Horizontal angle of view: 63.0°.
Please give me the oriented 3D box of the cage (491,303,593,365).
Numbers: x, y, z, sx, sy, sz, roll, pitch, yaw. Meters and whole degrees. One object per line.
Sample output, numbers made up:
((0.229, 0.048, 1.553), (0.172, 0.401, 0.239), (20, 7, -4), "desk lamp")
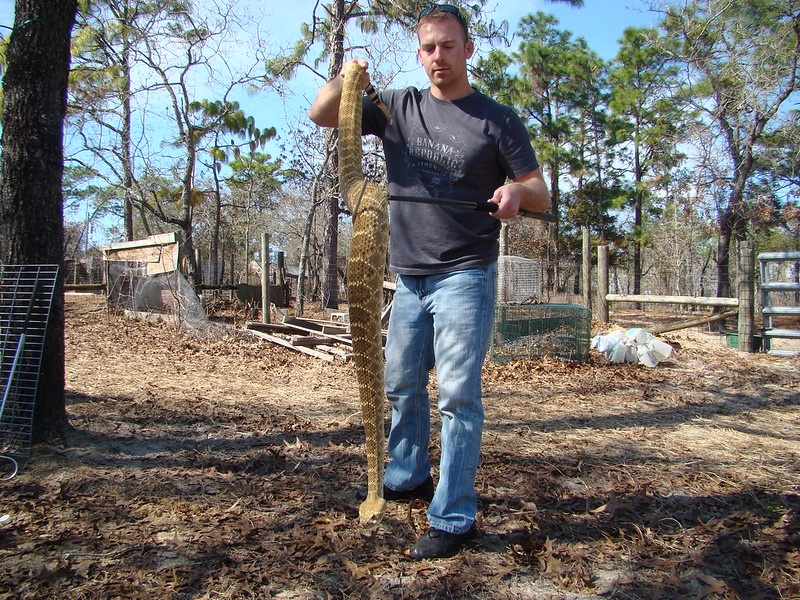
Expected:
((2.446, 0.542, 11.167), (1.494, 0.763, 1.109), (0, 1, 16), "cage")

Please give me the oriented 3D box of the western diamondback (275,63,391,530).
((-0.346, -0.070, 5.023), (0.466, 3.121, 0.470), (-7, 8, -26), "western diamondback")

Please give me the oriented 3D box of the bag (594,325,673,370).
((4.114, 0.841, 11.470), (0.846, 0.378, 0.841), (1, 4, 15), "bag")

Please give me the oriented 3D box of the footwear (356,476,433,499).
((-0.034, 1.574, 5.649), (0.731, 0.275, 0.227), (1, -3, -5), "footwear")

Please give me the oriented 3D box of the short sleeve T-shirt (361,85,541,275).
((0.333, -1.023, 5.547), (1.658, 1.510, 0.794), (2, 19, 11), "short sleeve T-shirt")
